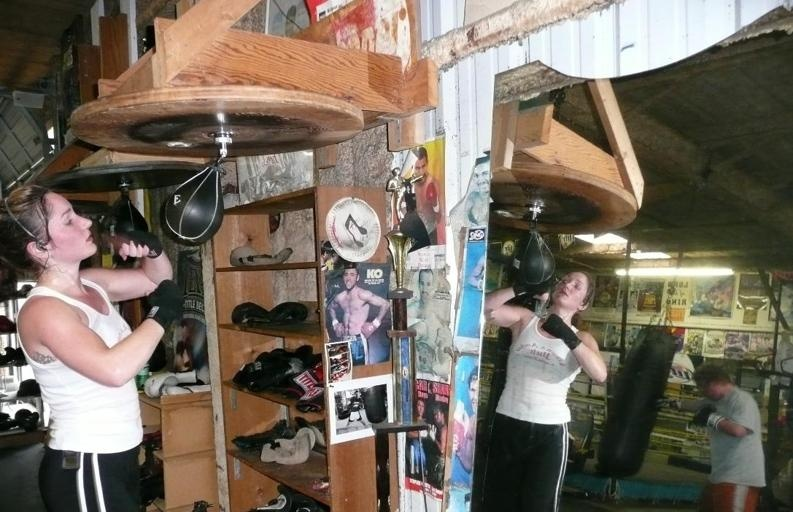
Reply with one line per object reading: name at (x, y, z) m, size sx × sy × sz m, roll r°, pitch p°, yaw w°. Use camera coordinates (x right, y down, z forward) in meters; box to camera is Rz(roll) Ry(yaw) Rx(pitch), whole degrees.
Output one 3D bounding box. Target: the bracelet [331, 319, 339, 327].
bracelet at (-0.294, 0.318, 3.269) m, size 0.030 × 0.023 × 0.030 m, roll -11°, pitch -19°, yaw 37°
